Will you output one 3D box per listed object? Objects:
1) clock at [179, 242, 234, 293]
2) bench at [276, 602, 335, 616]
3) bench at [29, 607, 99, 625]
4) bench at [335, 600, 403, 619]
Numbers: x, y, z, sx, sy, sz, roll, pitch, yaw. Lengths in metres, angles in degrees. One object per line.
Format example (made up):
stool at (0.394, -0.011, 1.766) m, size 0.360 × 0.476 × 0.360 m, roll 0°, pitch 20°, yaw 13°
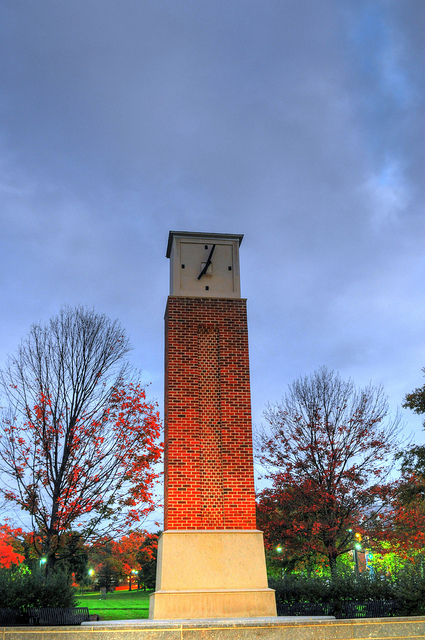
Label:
clock at (-0.088, -1.547, 17.939) m, size 1.793 × 1.594 × 0.706 m, roll 4°, pitch 15°, yaw 14°
bench at (2.424, 7.586, 16.395) m, size 1.841 × 0.347 × 0.387 m, roll 14°, pitch -26°, yaw -37°
bench at (-3.810, 7.434, 15.751) m, size 1.470 × 0.375 × 1.104 m, roll 7°, pitch -22°, yaw -22°
bench at (4.181, 7.745, 16.799) m, size 1.818 × 0.386 × 0.586 m, roll 7°, pitch -22°, yaw -22°
